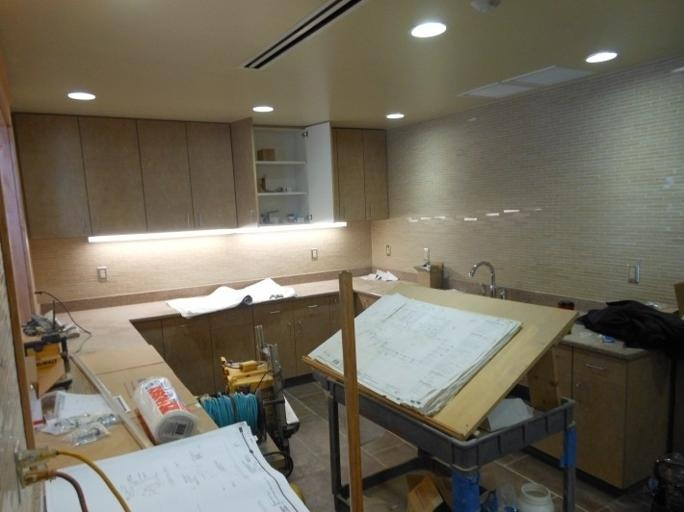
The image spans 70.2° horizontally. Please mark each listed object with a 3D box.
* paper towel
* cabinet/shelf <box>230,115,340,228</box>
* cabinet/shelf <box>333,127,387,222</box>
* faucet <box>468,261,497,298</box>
[{"bbox_3d":[-0.922,0.785,2.472,0.235,0.234,0.409,26,0,-38],"label":"paper towel"},{"bbox_3d":[-0.552,-0.956,5.875,0.835,1.168,1.013,-2,13,-5],"label":"cabinet/shelf"},{"bbox_3d":[0.172,-0.953,5.582,0.972,1.206,0.372,-4,7,-32],"label":"cabinet/shelf"},{"bbox_3d":[1.342,0.277,4.592,0.277,0.493,0.136,-7,19,0],"label":"faucet"}]
